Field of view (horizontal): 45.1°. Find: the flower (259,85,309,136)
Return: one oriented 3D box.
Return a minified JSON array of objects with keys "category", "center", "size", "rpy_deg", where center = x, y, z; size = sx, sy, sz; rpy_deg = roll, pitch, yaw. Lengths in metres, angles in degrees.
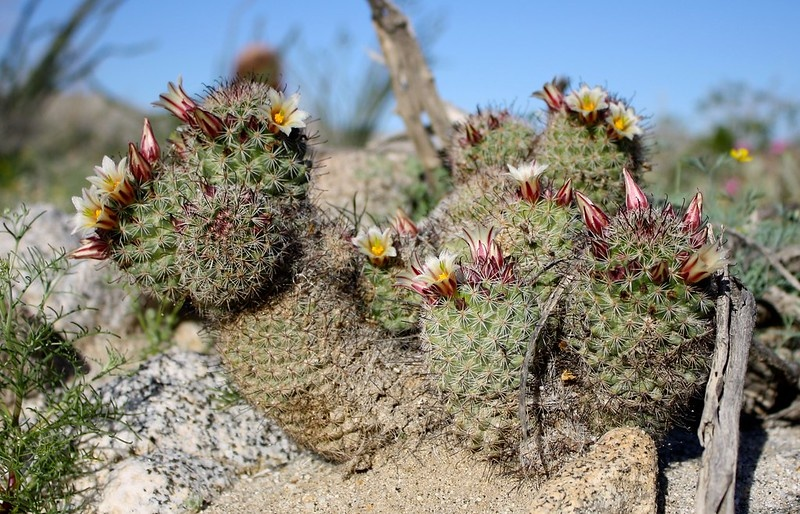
[{"category":"flower","center":[-0.896,-1.106,7.365],"size":[0.223,0.120,0.233],"rpy_deg":[30,-12,-16]}]

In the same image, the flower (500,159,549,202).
[{"category":"flower","center":[0.962,-0.553,7.408],"size":[0.278,0.307,0.353],"rpy_deg":[0,20,14]}]

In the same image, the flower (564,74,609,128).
[{"category":"flower","center":[1.460,-1.191,7.521],"size":[0.353,0.332,0.134],"rpy_deg":[13,1,10]}]

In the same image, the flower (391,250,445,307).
[{"category":"flower","center":[0.136,0.186,7.197],"size":[0.300,0.191,0.321],"rpy_deg":[-20,3,33]}]

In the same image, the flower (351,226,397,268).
[{"category":"flower","center":[-0.168,-0.079,7.456],"size":[0.296,0.214,0.276],"rpy_deg":[-26,34,-25]}]

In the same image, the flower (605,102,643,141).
[{"category":"flower","center":[1.702,-1.056,7.532],"size":[0.302,0.135,0.300],"rpy_deg":[-29,13,10]}]

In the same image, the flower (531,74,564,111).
[{"category":"flower","center":[1.243,-1.339,7.701],"size":[0.244,0.161,0.294],"rpy_deg":[-2,-5,37]}]

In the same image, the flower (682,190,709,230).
[{"category":"flower","center":[2.199,-0.376,7.137],"size":[0.097,0.350,0.120],"rpy_deg":[19,-28,16]}]

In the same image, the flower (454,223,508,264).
[{"category":"flower","center":[0.621,-0.069,7.159],"size":[0.260,0.302,0.257],"rpy_deg":[-22,-30,11]}]

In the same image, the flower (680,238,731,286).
[{"category":"flower","center":[2.187,0.066,6.894],"size":[0.301,0.270,0.309],"rpy_deg":[-35,-13,9]}]

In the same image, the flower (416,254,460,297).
[{"category":"flower","center":[0.311,0.173,7.091],"size":[0.318,0.318,0.193],"rpy_deg":[-13,-41,3]}]

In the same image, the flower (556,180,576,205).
[{"category":"flower","center":[1.260,-0.489,7.310],"size":[0.133,0.209,0.094],"rpy_deg":[11,1,7]}]

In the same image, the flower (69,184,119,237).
[{"category":"flower","center":[-2.281,-0.282,7.179],"size":[0.286,0.355,0.300],"rpy_deg":[29,-29,-5]}]
